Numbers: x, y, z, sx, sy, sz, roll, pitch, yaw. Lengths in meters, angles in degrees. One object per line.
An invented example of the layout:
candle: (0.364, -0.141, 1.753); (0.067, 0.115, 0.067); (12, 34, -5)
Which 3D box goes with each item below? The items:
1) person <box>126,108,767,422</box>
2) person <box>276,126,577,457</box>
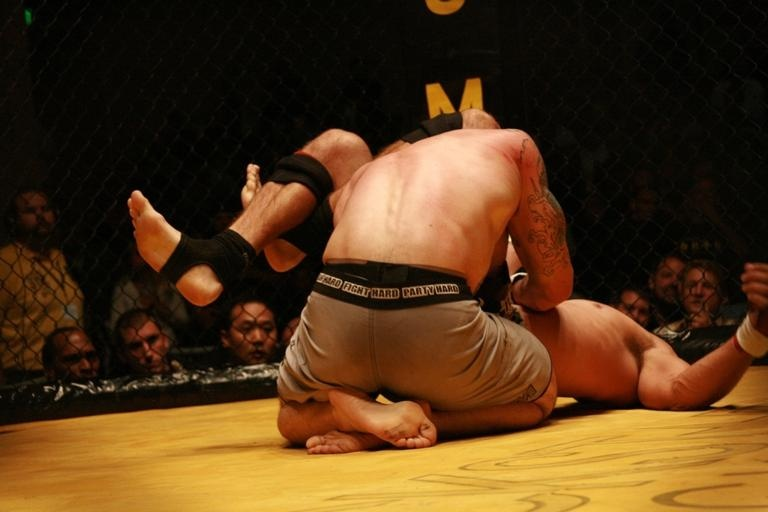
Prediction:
person: (0.269, 0.134, 3.230); (1.613, 0.724, 1.863); (5, -6, 41)
person: (0.150, 0.182, 3.207); (1.163, 1.386, 1.157); (1, -14, 8)
